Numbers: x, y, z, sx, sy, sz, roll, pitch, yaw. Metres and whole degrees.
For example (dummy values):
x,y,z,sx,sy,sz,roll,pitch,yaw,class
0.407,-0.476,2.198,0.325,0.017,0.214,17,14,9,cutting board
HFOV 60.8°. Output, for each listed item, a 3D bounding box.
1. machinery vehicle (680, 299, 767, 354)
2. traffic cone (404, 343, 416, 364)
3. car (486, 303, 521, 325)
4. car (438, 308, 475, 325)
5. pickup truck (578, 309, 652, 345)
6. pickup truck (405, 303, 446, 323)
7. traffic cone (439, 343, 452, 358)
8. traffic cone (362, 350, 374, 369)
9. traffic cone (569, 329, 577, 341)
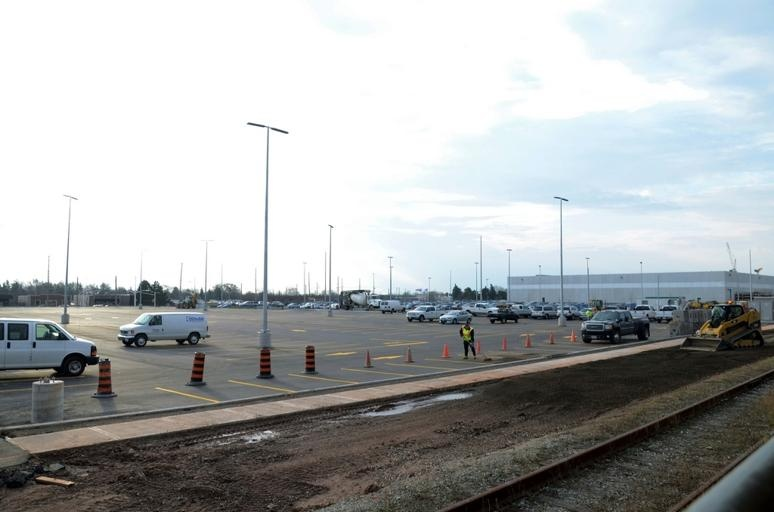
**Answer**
x,y,z,sx,sy,sz,roll,pitch,yaw,class
18.376,3.806,35.802,4.495,2.067,2.351,-3,0,-28,machinery vehicle
1.000,4.803,31.428,0.533,0.687,0.548,1,5,39,traffic cone
11.858,6.029,66.950,1.754,1.582,3.748,2,3,44,car
6.485,5.875,62.535,2.444,1.289,1.261,0,-1,-19,car
15.221,4.649,43.823,5.816,1.816,2.672,0,0,-42,pickup truck
4.139,6.125,69.552,1.685,1.185,3.494,-5,-10,39,pickup truck
2.939,4.908,33.261,0.560,0.684,0.559,2,4,34,traffic cone
-0.887,4.625,29.184,0.628,0.643,0.635,1,2,31,traffic cone
13.278,5.665,46.911,0.570,0.724,0.572,-3,8,31,traffic cone
